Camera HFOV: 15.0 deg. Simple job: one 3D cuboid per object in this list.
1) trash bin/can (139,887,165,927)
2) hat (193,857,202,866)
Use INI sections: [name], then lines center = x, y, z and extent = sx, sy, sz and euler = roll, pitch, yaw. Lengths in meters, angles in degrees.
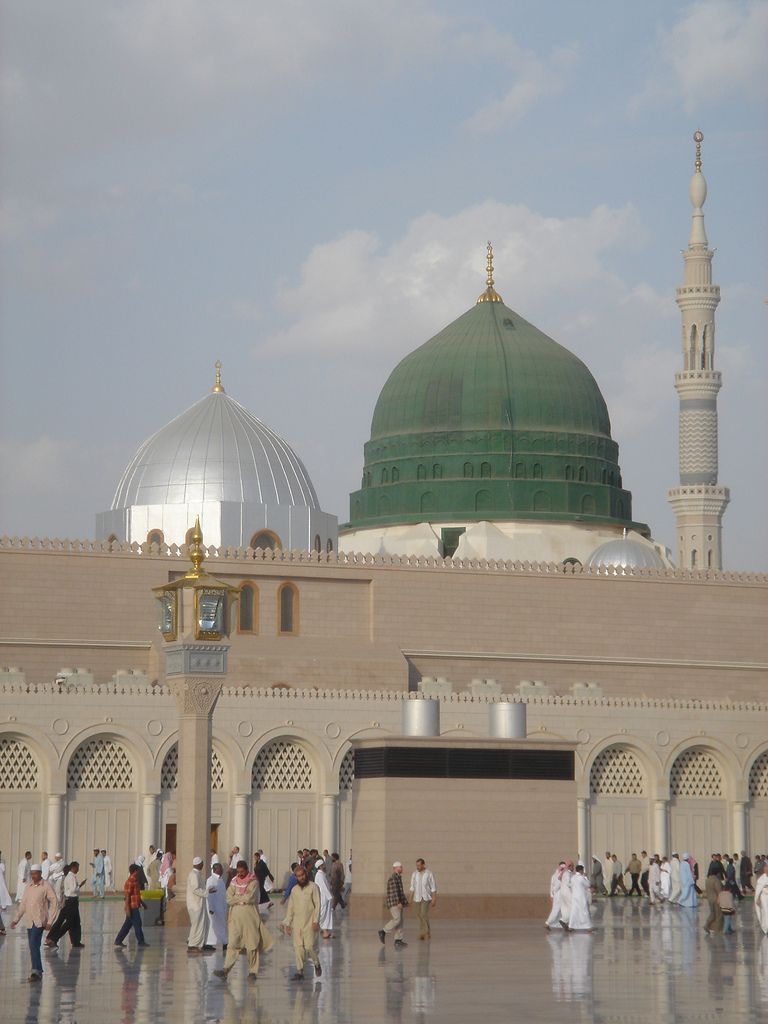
[trash bin/can]
center = -2.689, 4.582, 33.809
extent = 0.331, 0.548, 0.377
euler = -5, -7, 27
[hat]
center = -1.974, 3.704, 30.984
extent = 0.073, 0.067, 0.079
euler = 5, -15, -11
